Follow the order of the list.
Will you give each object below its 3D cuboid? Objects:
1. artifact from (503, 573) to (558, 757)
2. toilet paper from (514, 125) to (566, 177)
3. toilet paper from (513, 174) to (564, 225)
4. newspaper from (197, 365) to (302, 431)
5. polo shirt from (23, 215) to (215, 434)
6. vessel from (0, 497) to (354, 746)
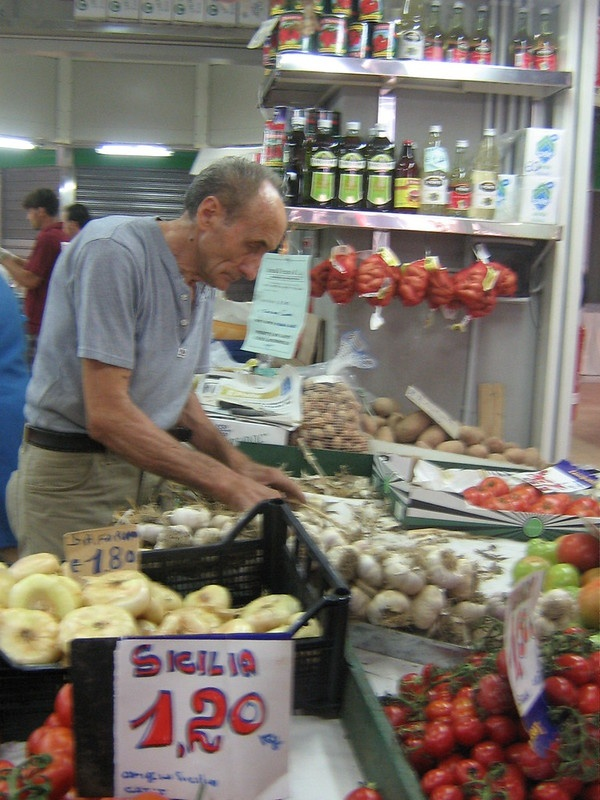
[{"bbox_3d":[0.264,0.318,0.876,0.073,0.227,0.044,-7,4,-29],"label":"artifact"},{"bbox_3d":[0.984,-0.998,2.944,0.226,0.193,0.220,-5,9,-20],"label":"toilet paper"},{"bbox_3d":[0.979,-0.832,3.031,0.229,0.184,0.197,1,2,4],"label":"toilet paper"},{"bbox_3d":[-0.160,-0.010,2.579,0.299,0.089,0.270,5,14,0],"label":"newspaper"},{"bbox_3d":[-0.463,-0.191,1.932,0.404,0.518,0.621,11,3,13],"label":"polo shirt"},{"bbox_3d":[-0.199,0.326,1.171,0.403,0.135,0.288,-4,18,-23],"label":"vessel"}]
